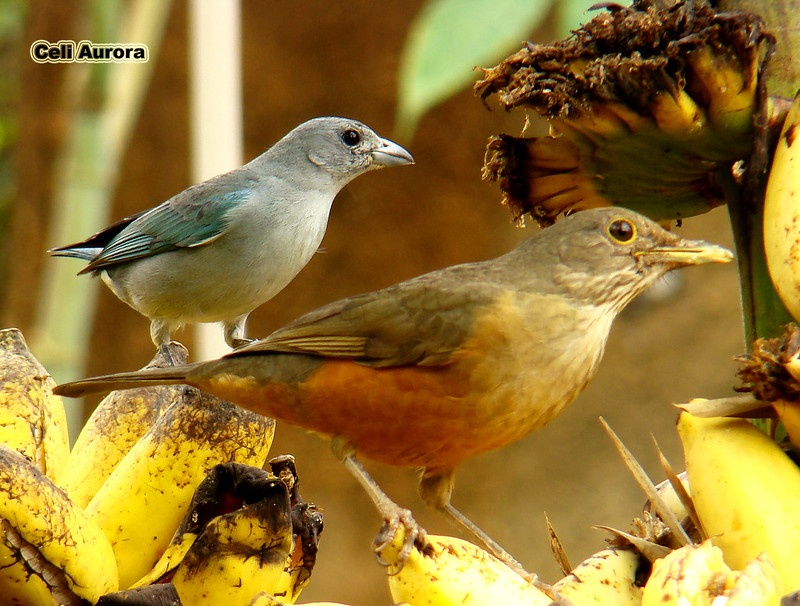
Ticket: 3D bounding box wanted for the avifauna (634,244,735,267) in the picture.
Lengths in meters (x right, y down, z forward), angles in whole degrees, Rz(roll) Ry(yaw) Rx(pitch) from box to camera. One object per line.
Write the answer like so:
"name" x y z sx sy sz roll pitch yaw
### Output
"avifauna" 1.080 -0.182 5.034 0.362 0.091 0.280 -4 5 24
